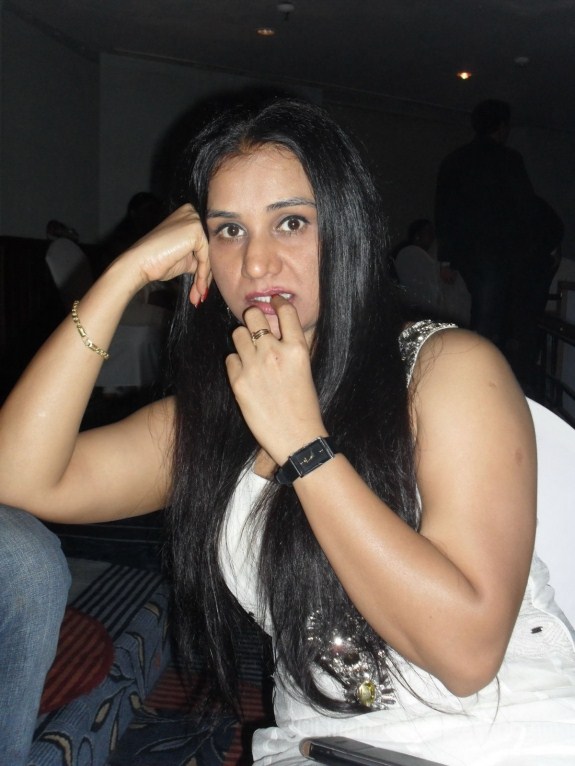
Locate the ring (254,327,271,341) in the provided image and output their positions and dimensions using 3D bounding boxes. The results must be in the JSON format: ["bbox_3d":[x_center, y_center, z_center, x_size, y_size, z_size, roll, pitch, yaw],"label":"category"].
[{"bbox_3d":[-0.045,-0.078,1.044,0.029,0.017,0.023,2,13,-2],"label":"ring"}]

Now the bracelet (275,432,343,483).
[{"bbox_3d":[0.031,0.100,0.962,0.050,0.084,0.086,53,21,23],"label":"bracelet"}]

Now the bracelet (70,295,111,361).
[{"bbox_3d":[-0.377,-0.101,1.196,0.090,0.097,0.030,18,40,29],"label":"bracelet"}]
